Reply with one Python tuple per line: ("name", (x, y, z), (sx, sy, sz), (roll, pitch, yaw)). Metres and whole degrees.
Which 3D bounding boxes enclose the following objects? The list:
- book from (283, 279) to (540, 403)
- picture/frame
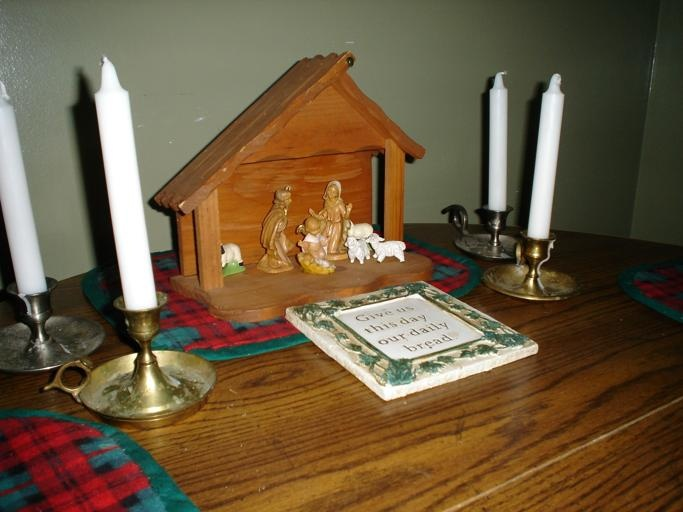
("book", (0.127, 0.160, 1.065), (0.293, 0.027, 0.255), (-10, 23, -24))
("picture/frame", (0.139, 0.161, 1.080), (0.290, 0.028, 0.258), (-11, 24, -26))
